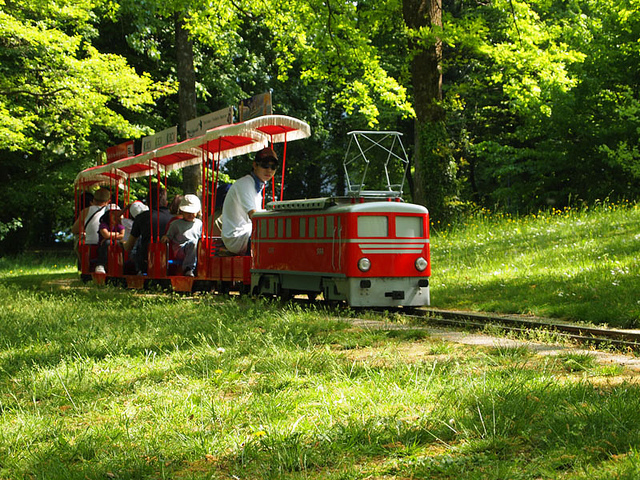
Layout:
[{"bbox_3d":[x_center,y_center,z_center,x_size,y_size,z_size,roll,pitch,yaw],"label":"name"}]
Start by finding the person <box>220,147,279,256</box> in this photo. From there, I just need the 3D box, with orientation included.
[{"bbox_3d":[-1.537,-0.781,17.834,1.254,2.265,0.630,0,8,8],"label":"person"}]

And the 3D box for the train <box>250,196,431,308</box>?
[{"bbox_3d":[0.288,0.177,17.027,2.014,2.223,4.251,1,0,-34],"label":"train"}]

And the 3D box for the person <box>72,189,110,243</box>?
[{"bbox_3d":[-6.159,-0.624,22.991,0.969,1.381,0.546,13,-5,27],"label":"person"}]
